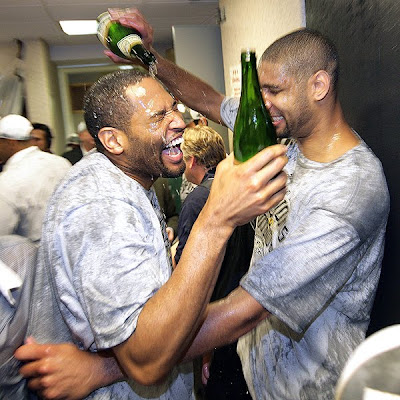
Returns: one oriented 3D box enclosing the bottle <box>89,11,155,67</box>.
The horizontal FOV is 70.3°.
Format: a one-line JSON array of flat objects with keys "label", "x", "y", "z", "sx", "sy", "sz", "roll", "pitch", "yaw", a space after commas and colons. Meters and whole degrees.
[{"label": "bottle", "x": -0.255, "y": -0.504, "z": 0.946, "sx": 0.103, "sy": 0.256, "sz": 0.102, "roll": -41, "pitch": -19, "yaw": -18}]
